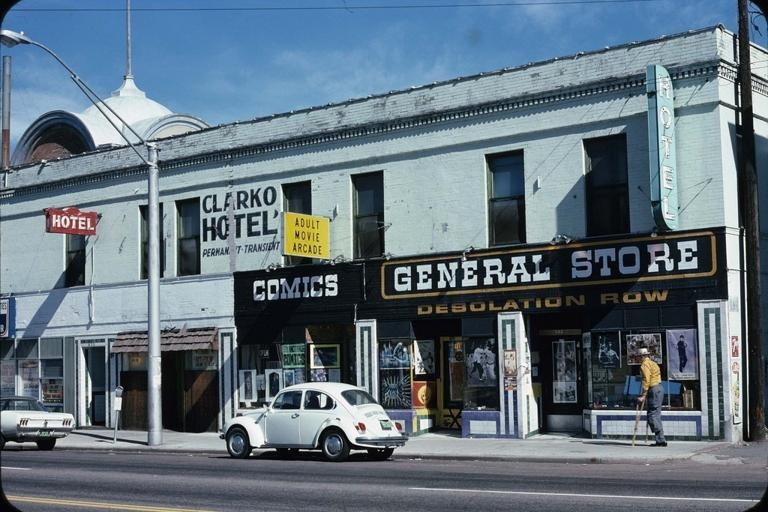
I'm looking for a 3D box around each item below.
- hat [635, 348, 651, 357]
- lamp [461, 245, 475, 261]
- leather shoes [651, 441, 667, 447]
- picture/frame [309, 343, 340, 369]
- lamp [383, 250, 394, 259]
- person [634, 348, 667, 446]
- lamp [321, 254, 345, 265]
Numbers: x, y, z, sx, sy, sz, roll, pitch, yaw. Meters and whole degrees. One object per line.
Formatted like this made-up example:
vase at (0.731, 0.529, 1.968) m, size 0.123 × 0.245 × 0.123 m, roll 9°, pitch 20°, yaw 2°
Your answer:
hat at (8.603, 3.187, 49.674) m, size 0.343 × 0.294 × 0.267 m, roll 8°, pitch 3°, yaw 44°
lamp at (2.941, -0.127, 52.588) m, size 0.492 × 0.531 × 0.218 m, roll -2°, pitch -12°, yaw 4°
leather shoes at (8.919, 6.093, 48.524) m, size 0.494 × 0.190 × 0.165 m, roll 1°, pitch -1°, yaw 33°
picture/frame at (-2.280, 3.730, 55.324) m, size 1.075 × 0.792 × 0.078 m, roll 2°, pitch -15°, yaw -19°
lamp at (0.130, -0.038, 53.993) m, size 0.324 × 0.131 × 0.318 m, roll 2°, pitch 23°, yaw 4°
person at (8.772, 4.594, 49.017) m, size 0.819 × 3.328 × 0.968 m, roll -3°, pitch -13°, yaw 11°
lamp at (-1.901, 0.122, 54.899) m, size 1.111 × 0.444 × 0.348 m, roll -8°, pitch -14°, yaw 29°
